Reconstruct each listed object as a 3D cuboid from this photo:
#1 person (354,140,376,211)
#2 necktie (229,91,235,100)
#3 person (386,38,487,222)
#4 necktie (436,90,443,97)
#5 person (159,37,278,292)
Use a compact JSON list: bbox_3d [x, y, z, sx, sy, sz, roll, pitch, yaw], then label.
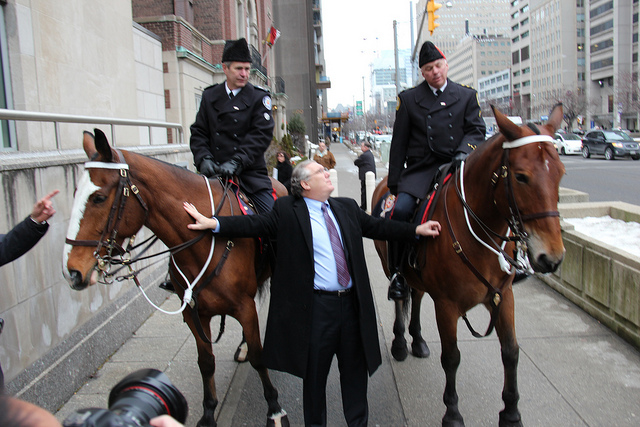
[{"bbox_3d":[1.687,-1.506,17.634,0.822,2.585,0.823,-7,15,-24],"label":"person"},{"bbox_3d":[-1.134,-1.506,5.663,0.040,0.136,0.029,-9,-12,11],"label":"necktie"},{"bbox_3d":[1.443,-0.632,5.821,1.128,3.070,1.009,2,23,12],"label":"person"},{"bbox_3d":[1.471,-1.509,5.575,0.063,0.105,0.043,2,0,13],"label":"necktie"},{"bbox_3d":[-1.172,-0.438,5.688,1.087,3.662,1.114,1,-1,14],"label":"person"}]
